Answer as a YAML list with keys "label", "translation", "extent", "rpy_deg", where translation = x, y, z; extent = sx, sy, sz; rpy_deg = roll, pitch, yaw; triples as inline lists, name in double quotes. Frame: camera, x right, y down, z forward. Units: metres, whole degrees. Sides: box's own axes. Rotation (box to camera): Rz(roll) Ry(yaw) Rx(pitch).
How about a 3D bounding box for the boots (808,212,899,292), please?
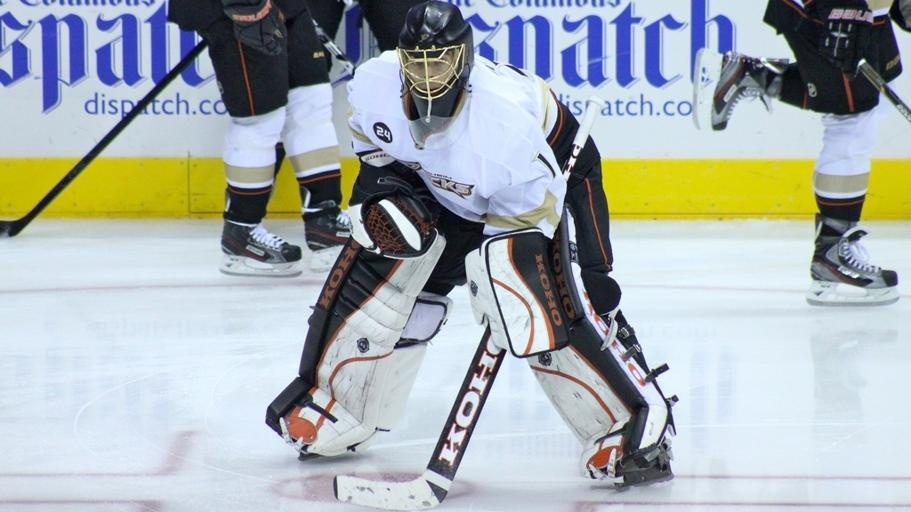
- label: "boots"
  translation: [2.281, -0.013, 5.942]
  extent: [0.462, 0.374, 0.296]
  rpy_deg: [2, 22, 12]

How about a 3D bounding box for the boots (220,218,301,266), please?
- label: "boots"
  translation: [-1.163, -0.073, 6.300]
  extent: [0.587, 0.257, 0.178]
  rpy_deg: [5, 15, 22]

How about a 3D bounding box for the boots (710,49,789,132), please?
- label: "boots"
  translation: [1.651, -1.064, 6.325]
  extent: [0.676, 0.303, 0.226]
  rpy_deg: [-8, 26, 10]

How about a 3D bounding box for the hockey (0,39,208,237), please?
- label: "hockey"
  translation: [-2.524, -0.877, 7.312]
  extent: [1.774, 0.254, 0.313]
  rpy_deg: [-39, 19, 5]
